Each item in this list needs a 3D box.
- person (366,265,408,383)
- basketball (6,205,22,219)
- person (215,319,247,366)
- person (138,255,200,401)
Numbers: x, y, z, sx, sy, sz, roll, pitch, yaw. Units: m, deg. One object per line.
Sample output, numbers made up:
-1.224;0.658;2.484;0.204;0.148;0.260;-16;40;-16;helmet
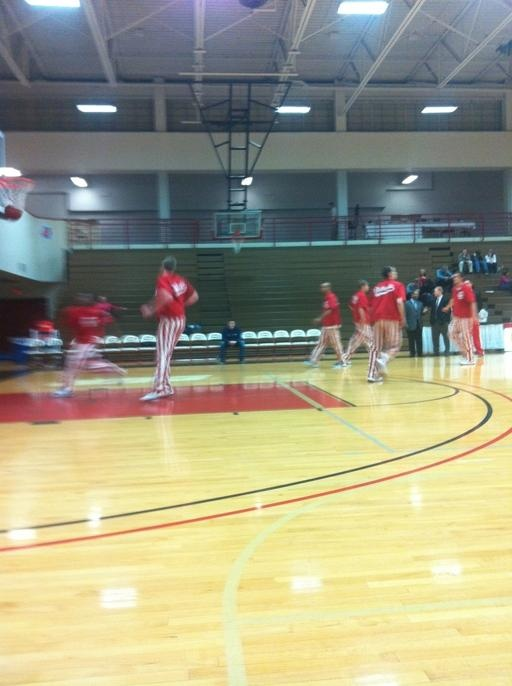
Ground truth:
1.427;-0.198;7.089;0.403;1.244;0.916;-2;3;11;person
-3.204;-1.719;8.432;0.215;0.173;0.380;-3;3;-21;basketball
-0.471;-0.022;11.922;0.439;0.774;0.615;-3;3;-4;person
-0.827;-0.124;5.978;0.573;1.324;0.619;-3;3;-6;person
